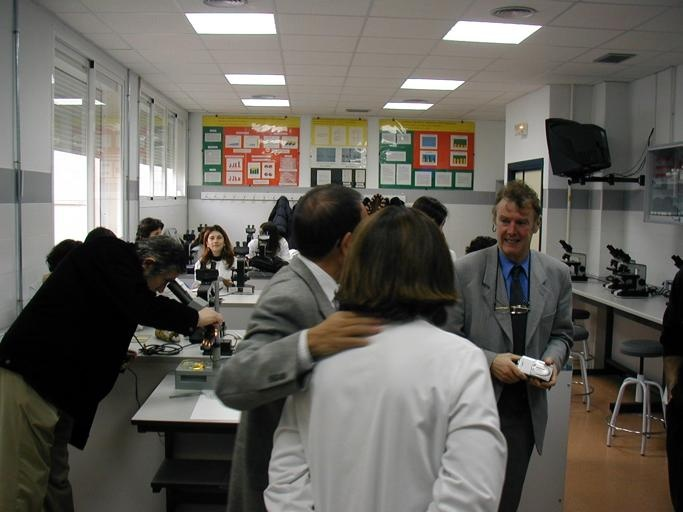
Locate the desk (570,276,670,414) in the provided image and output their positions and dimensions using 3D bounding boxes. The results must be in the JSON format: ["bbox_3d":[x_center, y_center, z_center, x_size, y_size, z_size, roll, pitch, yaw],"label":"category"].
[{"bbox_3d":[2.817,1.117,5.112,0.699,0.833,1.693,1,10,2],"label":"desk"}]

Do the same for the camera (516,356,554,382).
[{"bbox_3d":[0.775,0.448,1.959,0.126,0.077,0.048,17,2,28],"label":"camera"}]

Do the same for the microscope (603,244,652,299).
[{"bbox_3d":[2.820,0.195,4.942,0.446,0.615,0.604,1,2,8],"label":"microscope"}]

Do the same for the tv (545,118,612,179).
[{"bbox_3d":[2.448,-1.140,5.098,0.620,0.558,0.210,6,11,25],"label":"tv"}]

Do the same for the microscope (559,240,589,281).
[{"bbox_3d":[2.675,0.052,5.684,0.280,0.420,0.211,-1,1,18],"label":"microscope"}]

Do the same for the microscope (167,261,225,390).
[{"bbox_3d":[-0.780,0.410,2.793,0.304,0.780,0.341,3,6,-5],"label":"microscope"}]

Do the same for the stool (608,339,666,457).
[{"bbox_3d":[2.507,1.220,4.134,0.429,0.963,0.461,5,7,-1],"label":"stool"}]
